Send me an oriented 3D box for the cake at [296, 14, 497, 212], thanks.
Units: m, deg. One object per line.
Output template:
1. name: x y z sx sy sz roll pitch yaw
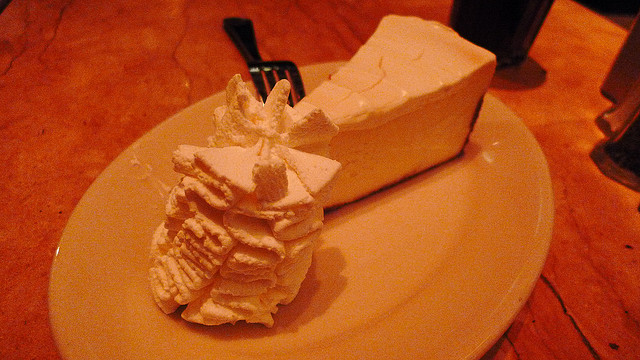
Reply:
1. cake: 0.244 -0.232 1.939 0.754 0.452 0.458 -38 61 -16

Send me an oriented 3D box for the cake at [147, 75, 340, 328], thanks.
1. cake: -0.229 0.044 1.641 0.487 0.617 0.504 22 32 17
